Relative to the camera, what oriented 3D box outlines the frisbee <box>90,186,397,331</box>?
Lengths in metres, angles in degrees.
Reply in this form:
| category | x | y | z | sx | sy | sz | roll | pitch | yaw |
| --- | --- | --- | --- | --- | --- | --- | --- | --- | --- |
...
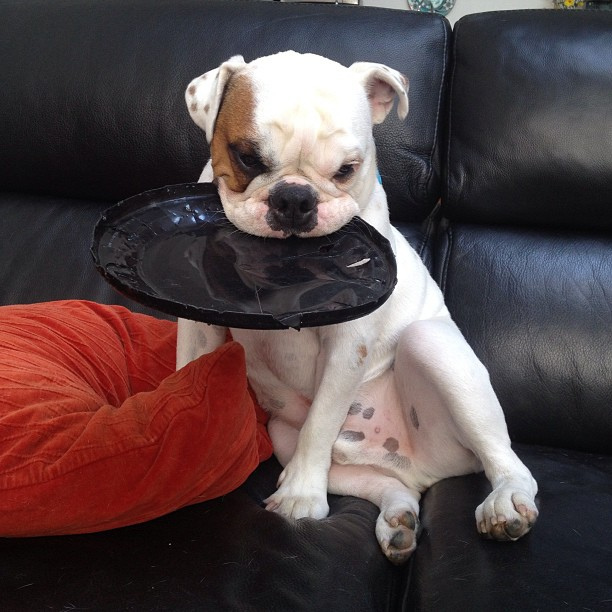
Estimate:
| category | x | y | z | sx | sy | sz | roll | pitch | yaw |
| --- | --- | --- | --- | --- | --- | --- | --- | --- | --- |
| frisbee | -0.085 | -0.042 | 1.082 | 0.433 | 0.043 | 0.380 | 3 | 17 | -2 |
